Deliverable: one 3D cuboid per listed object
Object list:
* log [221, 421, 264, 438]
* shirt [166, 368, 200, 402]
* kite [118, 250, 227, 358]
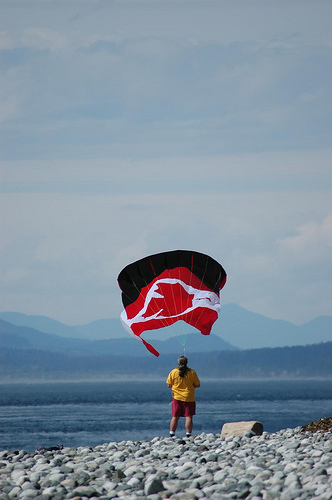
[{"bbox_3d":[1.683,3.973,27.275,0.890,0.348,1.358,7,0,7],"label":"log"},{"bbox_3d":[0.368,3.086,27.595,0.631,0.765,0.587,-1,-11,-1],"label":"shirt"},{"bbox_3d":[0.107,1.102,29.380,2.375,2.447,0.686,7,0,-2],"label":"kite"}]
